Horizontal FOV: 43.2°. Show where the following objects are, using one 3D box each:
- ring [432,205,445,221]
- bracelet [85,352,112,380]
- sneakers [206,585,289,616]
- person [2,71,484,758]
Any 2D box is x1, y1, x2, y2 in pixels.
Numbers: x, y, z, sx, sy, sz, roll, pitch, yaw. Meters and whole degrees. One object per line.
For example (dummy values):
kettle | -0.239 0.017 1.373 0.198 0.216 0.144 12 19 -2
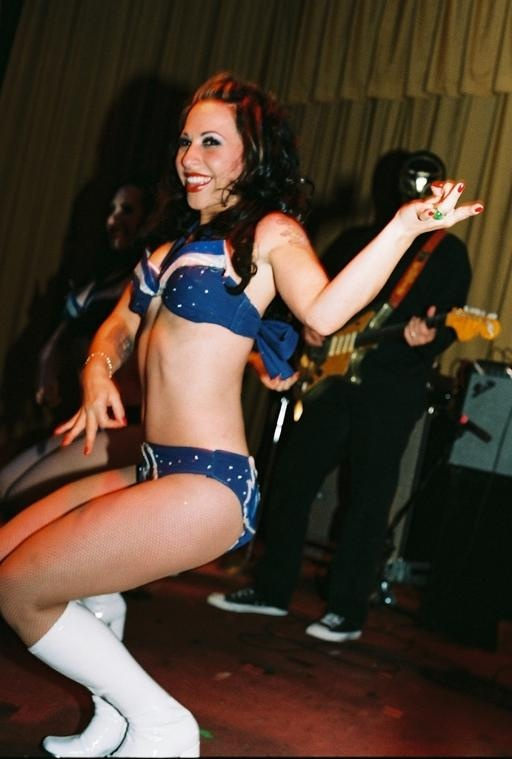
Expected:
ring | 0.237 -0.216 0.842 0.014 0.012 0.012 10 -4 11
bracelet | -0.308 -0.026 1.246 0.045 0.053 0.021 -4 -4 -5
sneakers | -0.030 0.829 2.446 0.292 0.103 0.102 10 -22 -7
person | -0.083 0.043 1.119 0.702 1.089 0.521 10 -4 9
